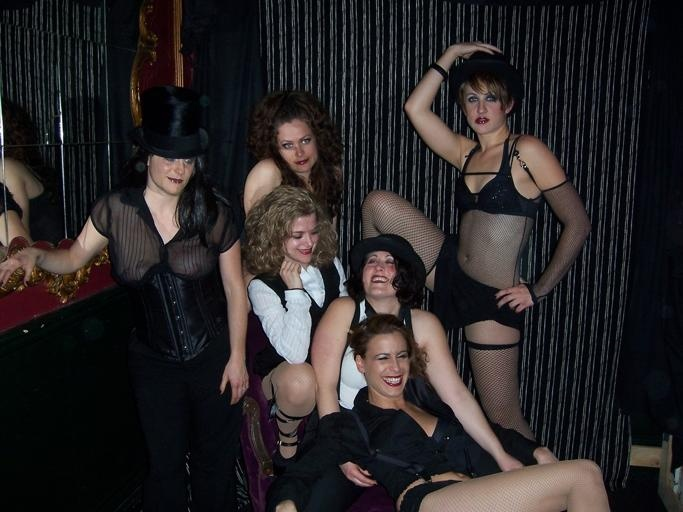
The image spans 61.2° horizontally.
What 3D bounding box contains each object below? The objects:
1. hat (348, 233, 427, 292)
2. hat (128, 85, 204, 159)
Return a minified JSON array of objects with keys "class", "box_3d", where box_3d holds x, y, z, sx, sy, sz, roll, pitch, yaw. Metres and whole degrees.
[{"class":"hat","box_3d":[0.217,0.031,2.681,0.283,0.117,0.247,32,-22,-10]},{"class":"hat","box_3d":[-0.720,-0.588,2.419,0.369,0.256,0.354,24,28,32]}]
